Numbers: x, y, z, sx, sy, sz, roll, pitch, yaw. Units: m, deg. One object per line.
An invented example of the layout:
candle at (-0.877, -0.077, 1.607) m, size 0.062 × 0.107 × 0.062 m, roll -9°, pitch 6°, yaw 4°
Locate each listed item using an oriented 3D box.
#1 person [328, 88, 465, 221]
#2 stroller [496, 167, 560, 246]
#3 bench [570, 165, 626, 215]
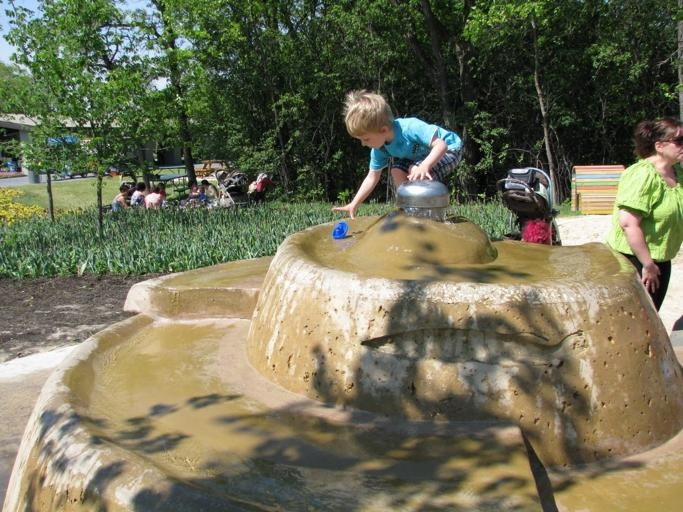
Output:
person at (0.364, -0.665, 3.780) m, size 0.741 × 0.824 × 1.115 m, roll 1°, pitch 9°, yaw 18°
stroller at (1.302, -0.337, 4.100) m, size 0.408 × 0.571 × 0.706 m, roll 3°, pitch 10°, yaw 25°
bench at (5.958, -1.589, 13.015) m, size 0.917 × 1.045 × 1.128 m, roll -24°, pitch 17°, yaw -30°
